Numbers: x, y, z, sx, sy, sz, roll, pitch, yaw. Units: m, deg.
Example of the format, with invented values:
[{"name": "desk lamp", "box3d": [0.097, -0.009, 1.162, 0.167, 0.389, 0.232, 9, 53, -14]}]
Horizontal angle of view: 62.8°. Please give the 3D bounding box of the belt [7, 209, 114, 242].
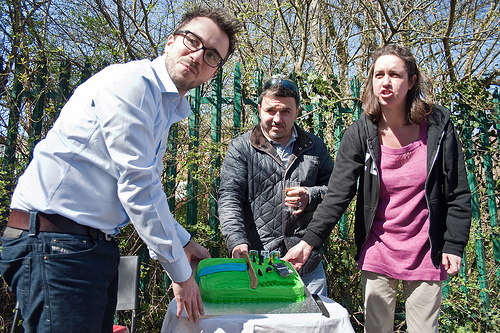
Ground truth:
[{"name": "belt", "box3d": [-1.359, 0.410, 2.871, 0.361, 0.111, 0.315, 19, -15, -39]}]
